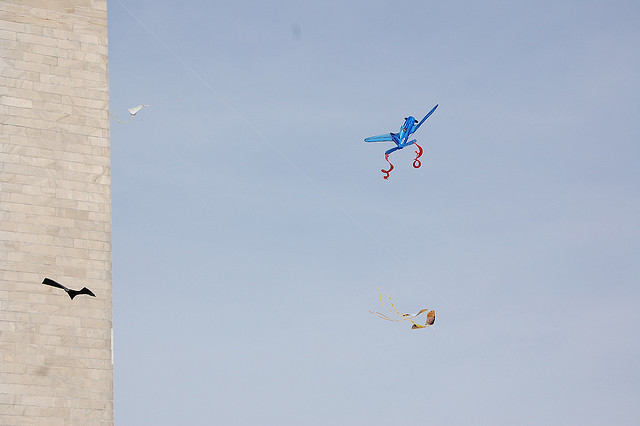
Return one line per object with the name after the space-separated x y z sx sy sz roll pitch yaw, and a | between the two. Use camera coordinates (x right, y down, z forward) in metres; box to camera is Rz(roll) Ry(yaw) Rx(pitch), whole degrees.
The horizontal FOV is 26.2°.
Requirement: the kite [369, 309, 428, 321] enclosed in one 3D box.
0.613 0.805 10.679 0.455 0.101 0.028 -5 -19 -9 | kite

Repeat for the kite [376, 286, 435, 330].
0.722 0.771 10.712 0.124 0.317 0.229 -58 -1 25 | kite

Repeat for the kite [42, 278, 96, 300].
-1.917 0.586 10.399 0.439 0.126 0.009 15 -13 -15 | kite
